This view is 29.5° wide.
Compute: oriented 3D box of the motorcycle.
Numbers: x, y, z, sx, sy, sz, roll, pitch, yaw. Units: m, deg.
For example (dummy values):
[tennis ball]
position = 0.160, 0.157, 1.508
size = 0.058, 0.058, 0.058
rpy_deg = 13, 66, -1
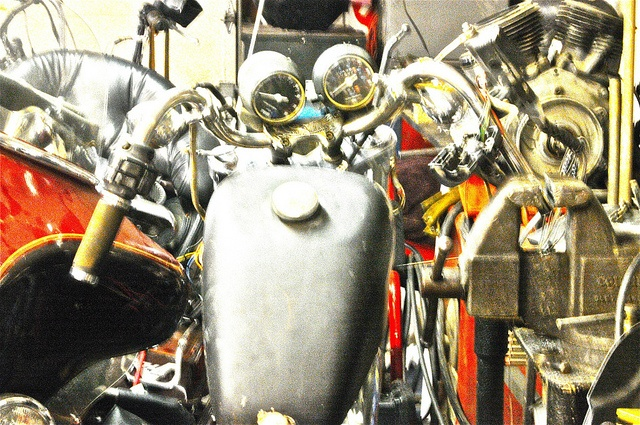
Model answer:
[motorcycle]
position = -0.056, 0.003, 2.206
size = 0.748, 0.761, 0.200
rpy_deg = 7, -17, -13
